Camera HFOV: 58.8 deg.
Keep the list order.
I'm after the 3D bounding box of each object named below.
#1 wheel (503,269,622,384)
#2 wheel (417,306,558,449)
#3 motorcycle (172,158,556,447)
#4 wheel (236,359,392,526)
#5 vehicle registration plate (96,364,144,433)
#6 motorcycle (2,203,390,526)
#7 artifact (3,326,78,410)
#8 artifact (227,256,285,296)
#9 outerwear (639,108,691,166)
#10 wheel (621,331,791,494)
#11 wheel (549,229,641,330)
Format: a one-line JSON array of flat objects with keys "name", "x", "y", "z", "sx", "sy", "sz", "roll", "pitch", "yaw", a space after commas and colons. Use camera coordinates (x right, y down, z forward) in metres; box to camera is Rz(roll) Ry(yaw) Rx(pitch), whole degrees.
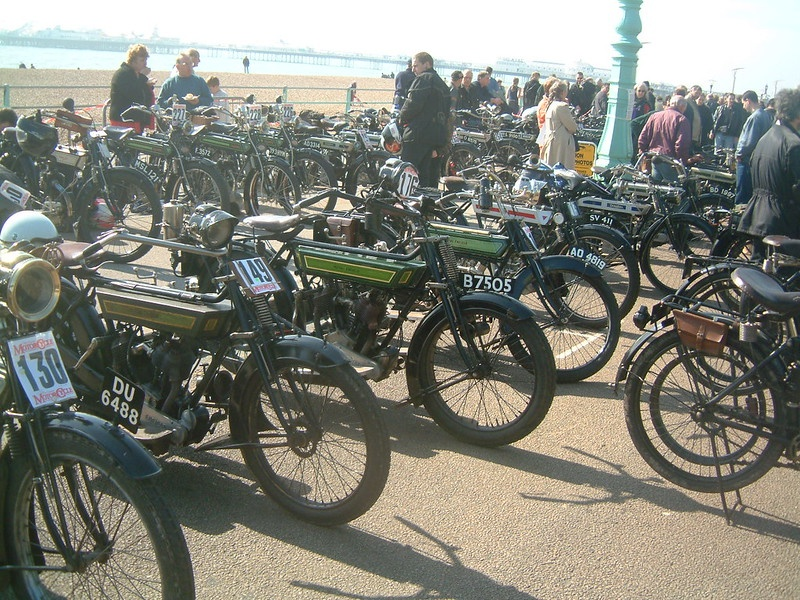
[{"name": "wheel", "x": 1.230, "y": 0.219, "z": 5.390, "sx": 0.868, "sy": 0.925, "sz": 0.210, "roll": -1, "pitch": 15, "yaw": 10}, {"name": "wheel", "x": 0.561, "y": 0.536, "z": 4.678, "sx": 0.825, "sy": 0.868, "sz": 0.199, "roll": -3, "pitch": 6, "yaw": 10}, {"name": "motorcycle", "x": -0.270, "y": -0.090, "z": 4.758, "sx": 2.580, "sy": 1.697, "sz": 1.211, "roll": 11, "pitch": 9, "yaw": 21}, {"name": "wheel", "x": -0.486, "y": 0.743, "z": 3.831, "sx": 1.064, "sy": 0.969, "sz": 0.198, "roll": 0, "pitch": 4, "yaw": 35}, {"name": "vehicle registration plate", "x": -1.436, "y": 0.518, "z": 3.660, "sx": 0.324, "sy": 0.266, "sz": 0.012, "roll": 26, "pitch": 19, "yaw": 21}, {"name": "motorcycle", "x": -1.356, "y": 0.257, "z": 4.097, "sx": 2.696, "sy": 1.429, "sz": 1.189, "roll": 15, "pitch": 17, "yaw": 25}, {"name": "artifact", "x": -1.463, "y": 0.292, "z": 2.892, "sx": 0.206, "sy": 0.286, "sz": 0.137, "roll": -11, "pitch": 20, "yaw": -43}, {"name": "artifact", "x": -0.765, "y": -0.118, "z": 3.749, "sx": 0.235, "sy": 0.176, "sz": 0.183, "roll": -7, "pitch": 18, "yaw": -34}, {"name": "outerwear", "x": 3.862, "y": -2.493, "z": 10.319, "sx": 0.461, "sy": 0.815, "sz": 0.871, "roll": -29, "pitch": 31, "yaw": -14}, {"name": "wheel", "x": 1.849, "y": 0.685, "z": 4.246, "sx": 0.780, "sy": 0.815, "sz": 0.138, "roll": 17, "pitch": 11, "yaw": 28}, {"name": "wheel", "x": 1.657, "y": -0.172, "z": 6.116, "sx": 0.898, "sy": 0.946, "sz": 0.272, "roll": 5, "pitch": 8, "yaw": 29}]
